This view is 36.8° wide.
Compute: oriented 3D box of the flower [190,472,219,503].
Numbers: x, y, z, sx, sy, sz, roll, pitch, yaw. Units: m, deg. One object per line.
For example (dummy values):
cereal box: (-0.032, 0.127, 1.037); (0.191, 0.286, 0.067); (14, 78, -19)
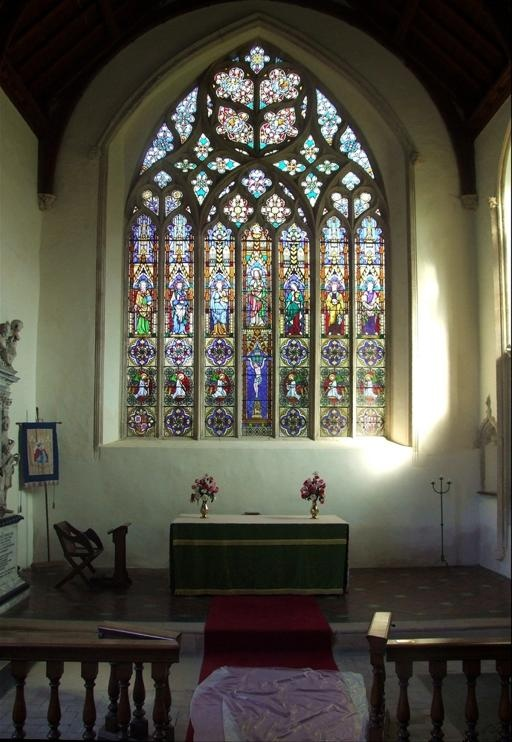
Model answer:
flower: (-0.618, 1.393, 9.130); (0.344, 0.401, 0.311); (6, -41, 8)

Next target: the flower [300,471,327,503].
flower: (0.641, 1.318, 8.693); (0.238, 0.269, 0.313); (0, 0, 11)

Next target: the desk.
desk: (0.013, 1.958, 8.430); (1.970, 0.740, 0.717); (2, 2, -9)
